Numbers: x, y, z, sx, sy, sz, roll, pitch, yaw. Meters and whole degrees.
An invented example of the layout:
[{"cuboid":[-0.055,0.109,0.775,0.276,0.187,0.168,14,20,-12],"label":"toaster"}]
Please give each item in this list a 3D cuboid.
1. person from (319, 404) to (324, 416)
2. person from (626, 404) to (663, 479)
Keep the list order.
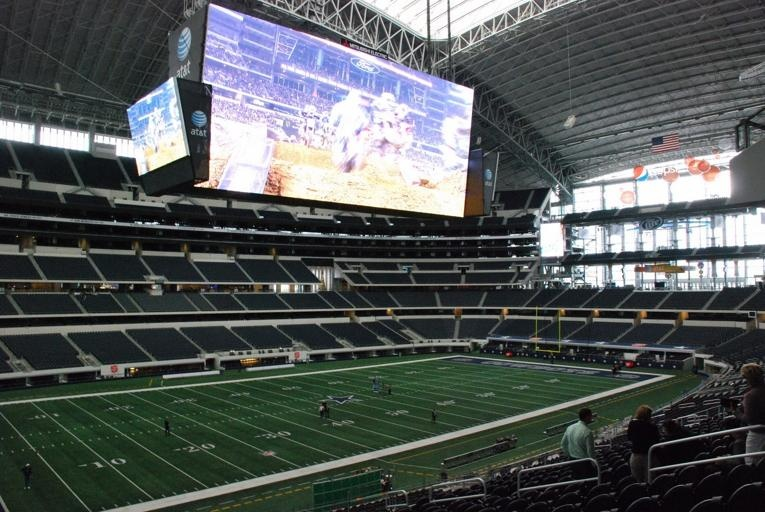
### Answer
[{"cuboid":[-3.654,9.337,34.558,0.255,0.750,0.872,2,-6,-12],"label":"person"},{"cuboid":[7.920,5.670,17.323,0.836,2.261,0.826,-2,-8,19],"label":"person"}]
